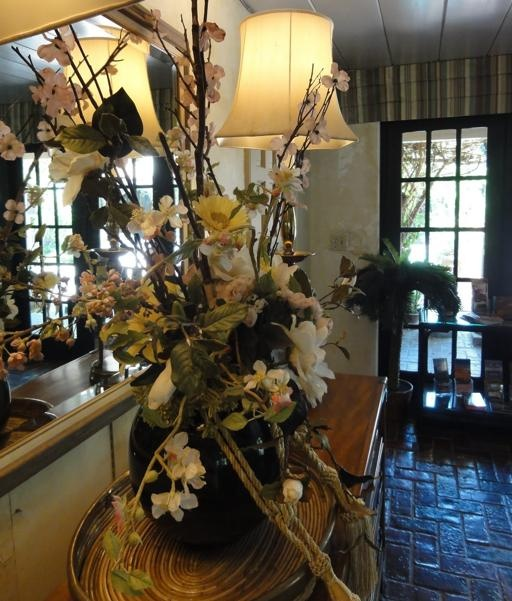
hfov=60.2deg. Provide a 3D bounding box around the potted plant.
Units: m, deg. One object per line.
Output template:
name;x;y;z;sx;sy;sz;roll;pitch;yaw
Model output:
potted plant;0.994;0.158;2.859;0.638;0.950;0.659;-2;-14;16

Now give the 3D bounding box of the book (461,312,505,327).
book;1.517;0.131;2.978;0.265;0.038;0.276;4;12;30

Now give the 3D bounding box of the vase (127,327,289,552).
vase;-0.032;0.181;0.672;0.231;0.272;0.233;2;7;12

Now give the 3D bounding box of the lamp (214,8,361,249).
lamp;0.079;-0.371;1.069;0.433;0.328;0.384;1;-2;7

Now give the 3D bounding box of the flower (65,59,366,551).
flower;-0.084;0.049;0.587;0.370;0.497;0.324;-4;-5;7
